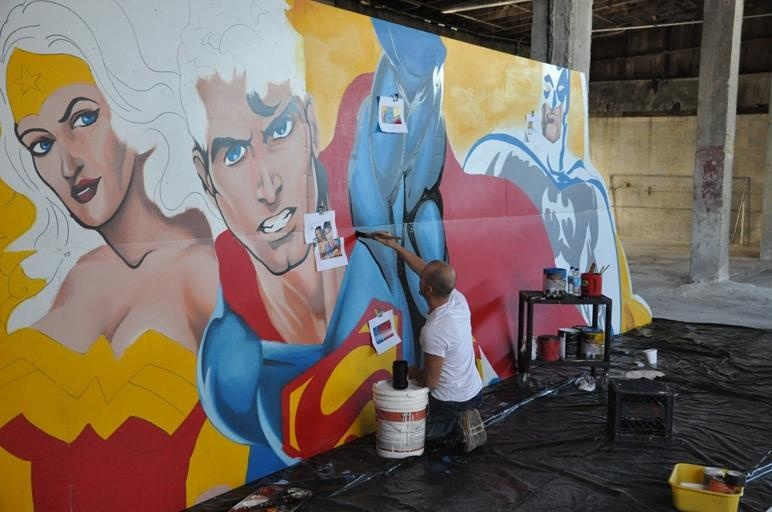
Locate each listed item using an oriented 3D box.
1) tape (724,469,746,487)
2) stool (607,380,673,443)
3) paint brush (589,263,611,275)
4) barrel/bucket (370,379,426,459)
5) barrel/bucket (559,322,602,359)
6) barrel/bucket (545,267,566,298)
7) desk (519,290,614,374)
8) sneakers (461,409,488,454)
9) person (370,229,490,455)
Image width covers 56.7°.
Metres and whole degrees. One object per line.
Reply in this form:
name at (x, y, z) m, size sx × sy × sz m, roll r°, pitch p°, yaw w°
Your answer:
tape at (2.283, 1.452, 4.683) m, size 0.094 × 0.064 × 0.100 m, roll -2°, pitch -2°, yaw 3°
stool at (1.970, 1.197, 5.523) m, size 0.406 × 0.355 × 0.439 m, roll 0°, pitch 1°, yaw 11°
paint brush at (2.221, 0.128, 7.443) m, size 0.184 × 0.196 × 0.112 m, roll -1°, pitch 3°, yaw -22°
barrel/bucket at (0.082, 1.192, 5.380) m, size 0.448 × 0.540 × 0.466 m, roll -1°, pitch 4°, yaw 0°
barrel/bucket at (1.763, 0.759, 6.447) m, size 0.272 × 0.199 × 0.292 m, roll -2°, pitch 3°, yaw 0°
barrel/bucket at (1.549, 0.236, 6.472) m, size 0.221 × 0.238 × 0.185 m, roll 0°, pitch 14°, yaw -3°
desk at (1.681, 0.784, 6.629) m, size 0.716 × 0.765 × 0.580 m, roll 1°, pitch -5°, yaw 14°
sneakers at (0.656, 1.331, 5.373) m, size 0.125 × 0.294 × 0.282 m, roll 1°, pitch 5°, yaw 39°
person at (0.537, 0.537, 5.901) m, size 1.113 × 1.649 × 0.829 m, roll 10°, pitch 25°, yaw 28°
